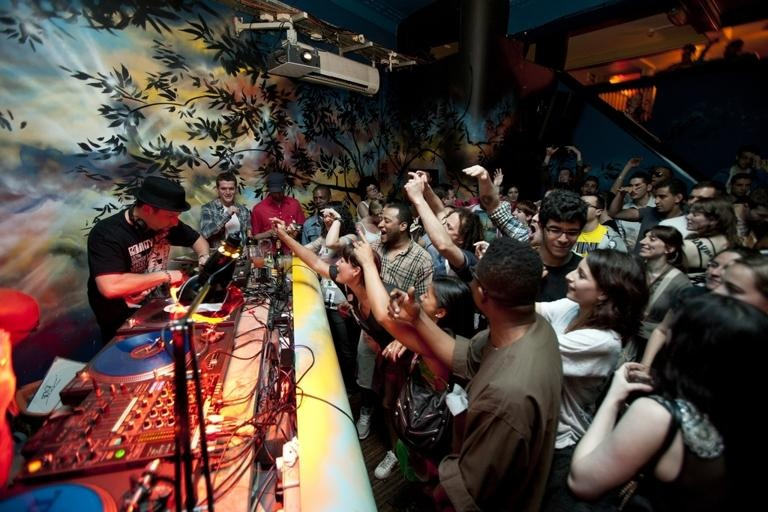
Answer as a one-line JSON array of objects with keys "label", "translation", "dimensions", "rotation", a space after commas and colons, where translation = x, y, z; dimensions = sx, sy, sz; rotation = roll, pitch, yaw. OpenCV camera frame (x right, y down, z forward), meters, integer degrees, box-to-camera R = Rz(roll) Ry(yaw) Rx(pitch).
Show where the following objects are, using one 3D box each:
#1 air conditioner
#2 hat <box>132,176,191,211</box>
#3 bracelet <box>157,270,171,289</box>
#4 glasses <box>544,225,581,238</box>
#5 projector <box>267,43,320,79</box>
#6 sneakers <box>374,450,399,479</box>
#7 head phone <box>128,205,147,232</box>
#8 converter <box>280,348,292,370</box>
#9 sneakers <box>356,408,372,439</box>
[{"label": "air conditioner", "translation": [-0.642, -2.595, 6.294], "dimensions": [0.305, 0.496, 1.575], "rotation": [11, 14, 36]}, {"label": "hat", "translation": [-1.679, -0.483, 3.388], "dimensions": [0.343, 0.128, 0.291], "rotation": [25, 22, -2]}, {"label": "bracelet", "translation": [-1.725, 0.187, 3.530], "dimensions": [0.127, 0.123, 0.034], "rotation": [7, 23, 35]}, {"label": "glasses", "translation": [1.405, -0.191, 3.579], "dimensions": [0.268, 0.092, 0.086], "rotation": [3, 12, 16]}, {"label": "projector", "translation": [-1.131, -2.500, 5.706], "dimensions": [0.651, 0.341, 0.438], "rotation": [-3, 11, -14]}, {"label": "sneakers", "translation": [0.052, 1.810, 3.869], "dimensions": [0.112, 0.118, 0.308], "rotation": [24, -1, 27]}, {"label": "head phone", "translation": [-1.937, -0.297, 3.539], "dimensions": [0.067, 0.179, 0.149], "rotation": [-6, 27, -21]}, {"label": "converter", "translation": [-0.630, 0.676, 2.907], "dimensions": [0.080, 0.076, 0.142], "rotation": [9, 0, -17]}, {"label": "sneakers", "translation": [-0.186, 1.589, 4.240], "dimensions": [0.148, 0.183, 0.437], "rotation": [3, -4, 2]}]
